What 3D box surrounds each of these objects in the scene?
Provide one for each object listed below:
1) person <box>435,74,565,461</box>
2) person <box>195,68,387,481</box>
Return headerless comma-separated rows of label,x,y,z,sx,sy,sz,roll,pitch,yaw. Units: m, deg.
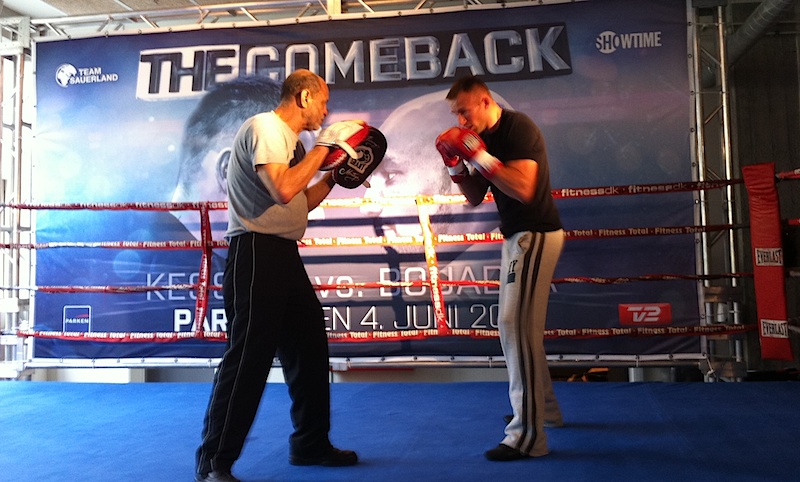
person,0.733,0.168,5.423,0.797,2.704,0.315,-2,-4,10
person,-0.856,0.358,5.237,1.029,2.467,0.383,0,-4,-15
